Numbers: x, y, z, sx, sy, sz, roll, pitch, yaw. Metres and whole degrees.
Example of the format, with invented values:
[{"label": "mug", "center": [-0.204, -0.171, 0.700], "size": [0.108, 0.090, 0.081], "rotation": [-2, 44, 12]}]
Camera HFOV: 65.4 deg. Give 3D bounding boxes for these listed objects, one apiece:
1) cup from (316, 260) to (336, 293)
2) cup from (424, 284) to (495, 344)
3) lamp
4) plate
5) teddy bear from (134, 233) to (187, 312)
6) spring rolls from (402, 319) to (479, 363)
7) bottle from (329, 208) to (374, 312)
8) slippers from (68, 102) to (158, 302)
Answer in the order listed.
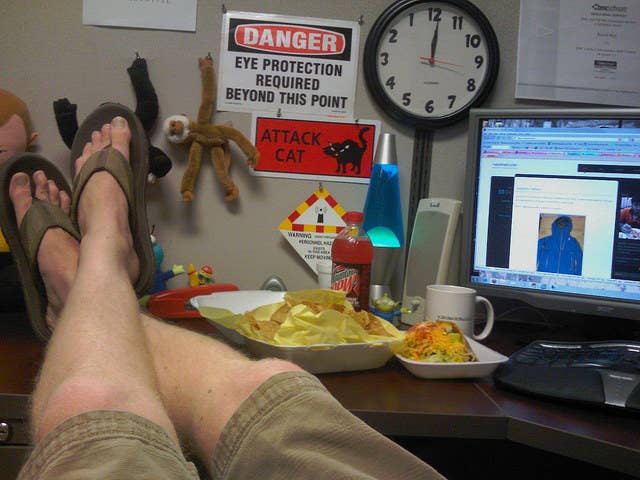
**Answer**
[{"label": "cup", "center": [0.008, 0.079, 1.089], "size": [0.050, 0.063, 0.054], "rotation": [2, -1, 0]}, {"label": "cup", "center": [0.252, 0.121, 0.983], "size": [0.144, 0.113, 0.108], "rotation": [5, 10, -6]}, {"label": "lamp", "center": [0.117, -0.027, 1.161], "size": [0.116, 0.409, 0.113], "rotation": [1, 6, -12]}, {"label": "plate", "center": [0.223, 0.178, 0.834], "size": [0.123, 0.079, 0.152], "rotation": [12, 14, 22]}, {"label": "teddy bear", "center": [-0.344, 0.079, 1.167], "size": [0.082, 0.191, 0.161], "rotation": [-10, 6, -11]}, {"label": "spring rolls", "center": [0.186, 0.165, 0.820], "size": [0.085, 0.059, 0.107], "rotation": [2, 12, -13]}, {"label": "bottle", "center": [0.067, 0.064, 1.054], "size": [0.082, 0.244, 0.082], "rotation": [2, 13, 0]}, {"label": "slippers", "center": [-0.450, -0.099, 1.125], "size": [0.193, 0.448, 0.134], "rotation": [-4, 5, 0]}]
